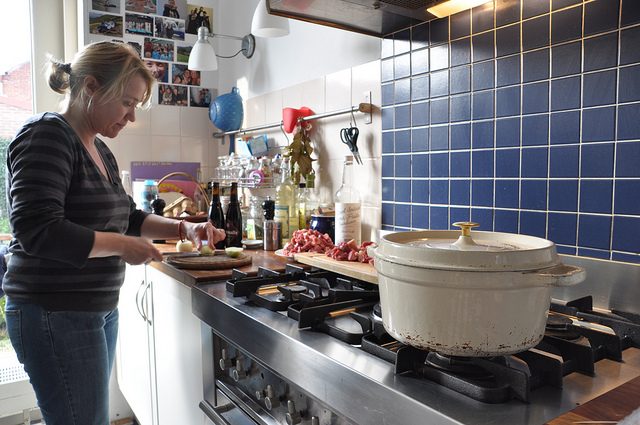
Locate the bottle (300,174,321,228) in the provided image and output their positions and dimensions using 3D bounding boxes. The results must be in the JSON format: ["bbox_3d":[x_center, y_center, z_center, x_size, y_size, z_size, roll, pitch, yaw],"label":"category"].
[{"bbox_3d":[-0.048,-0.055,2.126,0.104,0.262,0.304,0,3,-1],"label":"bottle"}]

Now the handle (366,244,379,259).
[{"bbox_3d":[0.125,0.095,1.065,0.048,0.023,0.035,-4,6,-42],"label":"handle"}]

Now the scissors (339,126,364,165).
[{"bbox_3d":[0.140,-0.310,1.980,0.096,0.182,0.032,-24,-9,38],"label":"scissors"}]

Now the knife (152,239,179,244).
[{"bbox_3d":[-0.867,0.163,2.452,0.089,0.021,0.089,1,2,2],"label":"knife"}]

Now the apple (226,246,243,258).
[{"bbox_3d":[-0.376,0.173,1.891,0.061,0.037,0.051,-1,3,-13],"label":"apple"}]

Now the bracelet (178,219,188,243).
[{"bbox_3d":[-0.586,0.078,1.843,0.030,0.090,0.063,-5,3,0],"label":"bracelet"}]

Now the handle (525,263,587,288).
[{"bbox_3d":[0.483,0.134,0.878,0.135,0.045,0.064,-1,3,-27],"label":"handle"}]

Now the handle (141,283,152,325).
[{"bbox_3d":[-0.832,0.425,2.078,0.027,0.192,0.135,-2,4,-28],"label":"handle"}]

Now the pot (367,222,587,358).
[{"bbox_3d":[0.293,0.160,0.902,0.316,0.198,0.406,0,0,-44],"label":"pot"}]

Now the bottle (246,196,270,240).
[{"bbox_3d":[-0.336,0.046,2.395,0.145,0.229,0.143,-5,-1,0],"label":"bottle"}]

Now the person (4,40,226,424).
[{"bbox_3d":[-0.740,0.083,1.527,0.581,1.346,0.530,-3,5,-42],"label":"person"}]

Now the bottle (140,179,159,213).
[{"bbox_3d":[-1.028,-0.103,2.634,0.109,0.199,0.107,3,11,-1],"label":"bottle"}]

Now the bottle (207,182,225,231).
[{"bbox_3d":[-0.519,-0.033,2.172,0.080,0.233,0.261,-1,3,-14],"label":"bottle"}]
